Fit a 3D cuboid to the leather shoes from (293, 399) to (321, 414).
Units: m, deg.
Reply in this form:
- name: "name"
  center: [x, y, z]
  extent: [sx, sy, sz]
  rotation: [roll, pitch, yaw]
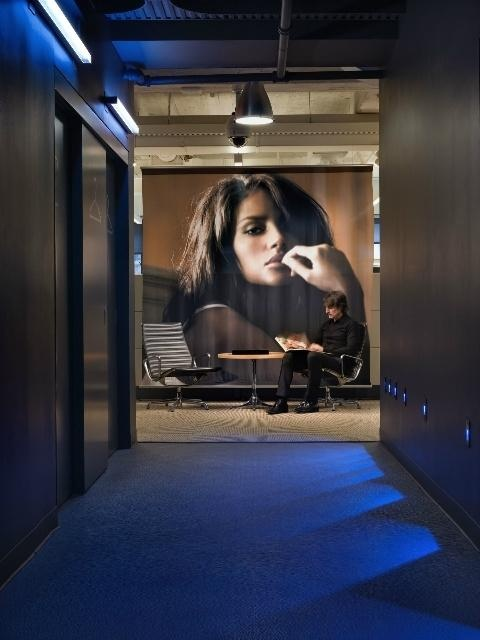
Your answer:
- name: "leather shoes"
  center: [0.855, 1.121, 6.367]
  extent: [0.326, 0.181, 0.131]
  rotation: [6, -9, -25]

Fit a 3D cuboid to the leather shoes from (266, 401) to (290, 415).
- name: "leather shoes"
  center: [0.469, 1.096, 6.234]
  extent: [0.275, 0.176, 0.158]
  rotation: [0, -3, -6]

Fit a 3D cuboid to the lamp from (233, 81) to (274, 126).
- name: "lamp"
  center: [0.112, -1.972, 4.639]
  extent: [0.337, 0.430, 0.366]
  rotation: [1, 4, 23]

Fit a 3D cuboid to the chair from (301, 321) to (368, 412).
- name: "chair"
  center: [1.159, 0.606, 6.633]
  extent: [0.822, 1.271, 0.723]
  rotation: [8, -4, -17]

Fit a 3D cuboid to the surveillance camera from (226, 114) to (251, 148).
- name: "surveillance camera"
  center: [-0.047, -2.218, 5.831]
  extent: [0.275, 0.612, 0.318]
  rotation: [-2, 6, -4]

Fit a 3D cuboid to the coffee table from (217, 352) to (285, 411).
- name: "coffee table"
  center: [0.185, 0.791, 6.646]
  extent: [0.714, 0.803, 0.833]
  rotation: [-2, 2, 11]
